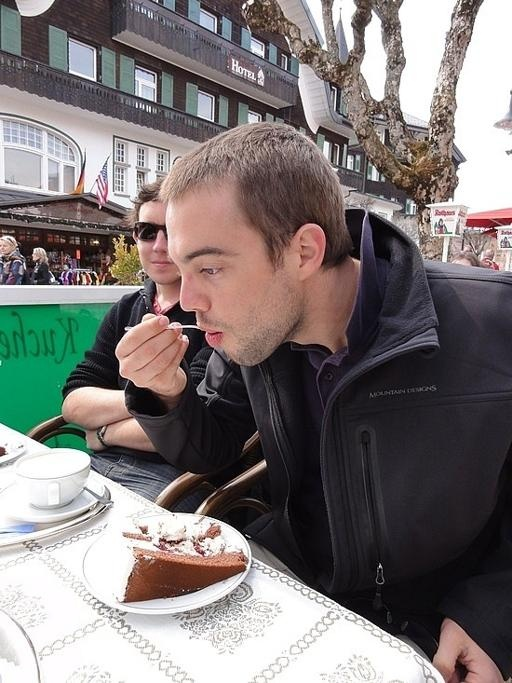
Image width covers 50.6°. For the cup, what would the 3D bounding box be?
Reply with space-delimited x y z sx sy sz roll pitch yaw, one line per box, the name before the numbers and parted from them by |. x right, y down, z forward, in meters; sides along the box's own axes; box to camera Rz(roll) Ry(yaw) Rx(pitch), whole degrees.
cup | -0.466 0.336 1.239 0.152 0.078 0.178 0 1 -18

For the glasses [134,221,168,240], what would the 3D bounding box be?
glasses | -0.574 -0.588 2.875 0.206 0.081 0.203 2 -2 2

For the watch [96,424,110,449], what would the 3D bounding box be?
watch | -0.676 0.412 2.391 0.062 0.081 0.091 -19 20 -18
